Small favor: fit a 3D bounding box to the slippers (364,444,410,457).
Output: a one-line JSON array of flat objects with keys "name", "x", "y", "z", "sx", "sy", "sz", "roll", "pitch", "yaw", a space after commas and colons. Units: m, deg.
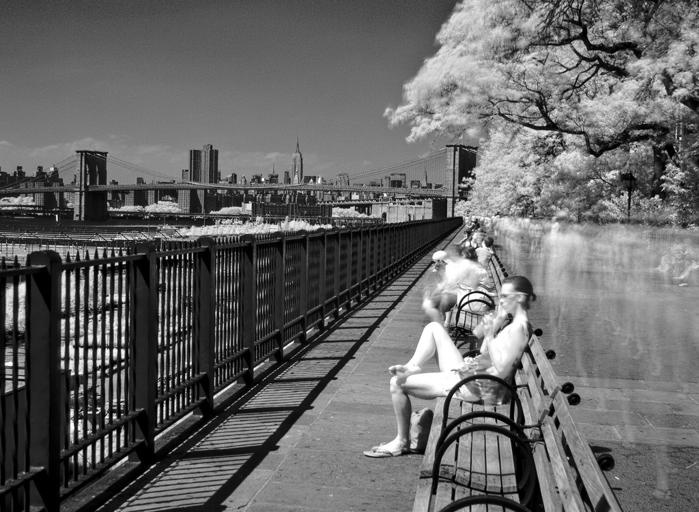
[{"name": "slippers", "x": 0.276, "y": 1.594, "z": 5.459, "sx": 0.246, "sy": 0.082, "sz": 0.146, "roll": 3, "pitch": -4, "yaw": -3}]
